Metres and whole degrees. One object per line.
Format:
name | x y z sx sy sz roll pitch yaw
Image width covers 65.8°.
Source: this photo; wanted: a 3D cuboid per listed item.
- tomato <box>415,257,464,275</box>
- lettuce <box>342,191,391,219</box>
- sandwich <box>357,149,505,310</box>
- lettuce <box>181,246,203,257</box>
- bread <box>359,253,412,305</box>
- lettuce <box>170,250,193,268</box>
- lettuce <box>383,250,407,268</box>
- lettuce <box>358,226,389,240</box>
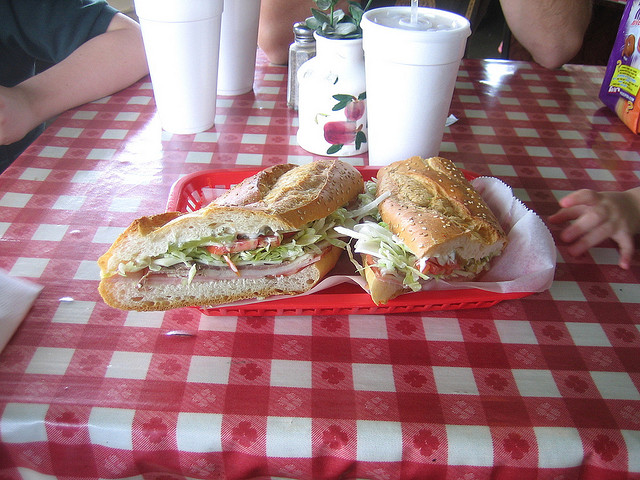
tomato | 0.394 0.090 1.640 0.097 0.023 0.094 -8 10 -42
lettuce | 0.172 -0.127 1.847 0.176 0.030 0.033 -31 65 0
sandwich | 0.371 -0.063 1.784 0.556 0.182 0.538 -6 40 0
lettuce | -0.424 0.036 1.646 0.049 0.014 0.040 -6 13 -13
bread | 0.193 0.125 1.599 0.153 0.043 0.123 5 43 -35
lettuce | -0.454 0.064 1.610 0.068 0.030 0.059 -10 60 -53
lettuce | 0.242 0.065 1.605 0.103 0.027 0.023 30 63 14
lettuce | 0.185 -0.022 1.708 0.070 0.019 0.056 12 14 -19
